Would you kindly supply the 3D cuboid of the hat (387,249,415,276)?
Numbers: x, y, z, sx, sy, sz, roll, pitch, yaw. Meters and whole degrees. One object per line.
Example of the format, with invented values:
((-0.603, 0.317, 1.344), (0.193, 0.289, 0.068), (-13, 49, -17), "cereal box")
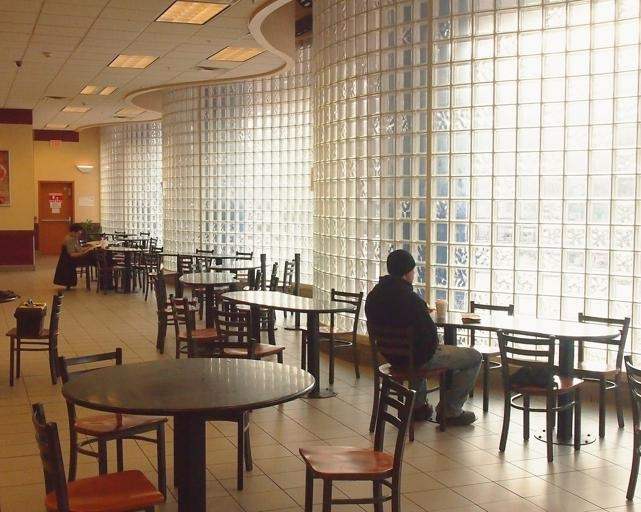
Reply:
((0.661, 0.062, 4.792), (0.216, 0.176, 0.214), (-7, 2, -38), "hat")

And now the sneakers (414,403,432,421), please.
((0.906, 1.373, 5.038), (0.121, 0.064, 0.165), (-3, 4, 10), "sneakers")

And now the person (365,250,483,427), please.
((0.854, 0.701, 4.957), (0.999, 1.458, 0.877), (3, -4, -20), "person")
